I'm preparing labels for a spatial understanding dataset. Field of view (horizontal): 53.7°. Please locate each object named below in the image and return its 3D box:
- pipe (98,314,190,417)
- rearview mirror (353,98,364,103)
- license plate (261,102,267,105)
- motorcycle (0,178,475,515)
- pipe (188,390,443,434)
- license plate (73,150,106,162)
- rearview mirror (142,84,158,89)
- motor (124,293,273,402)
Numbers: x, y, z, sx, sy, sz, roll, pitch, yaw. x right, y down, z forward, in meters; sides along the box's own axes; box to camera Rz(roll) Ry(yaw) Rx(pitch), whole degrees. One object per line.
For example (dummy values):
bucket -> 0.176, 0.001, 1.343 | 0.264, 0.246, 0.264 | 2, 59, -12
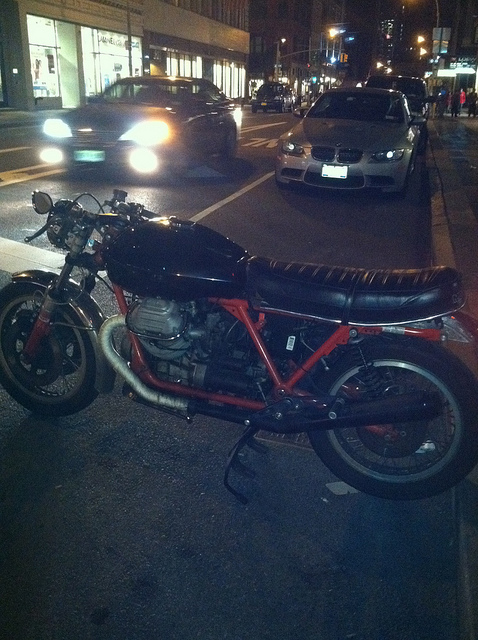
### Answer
pipe -> -0.485, 0.162, 2.404 | 0.569, 0.515, 0.398 | 9, 22, -10
rearview mirror -> 2.760, -5.089, 10.932 | 0.213, 0.121, 0.102 | 13, 28, 26
license plate -> 2.044, -18.205, 39.633 | 0.280, 0.272, 0.069 | -1, -1, 2
motorcycle -> -0.376, -0.080, 2.974 | 3.243, 1.723, 1.275 | 9, 18, 19
pipe -> 0.355, 0.389, 2.038 | 1.267, 0.193, 0.190 | -2, 18, 14
license plate -> -3.128, -3.432, 9.855 | 0.747, 0.243, 0.143 | 9, 16, 23
rearview mirror -> -2.251, -5.858, 11.832 | 0.422, 0.128, 0.139 | 5, 15, 10
motor -> -0.236, 0.122, 2.206 | 0.763, 0.366, 0.515 | 14, 43, 32
